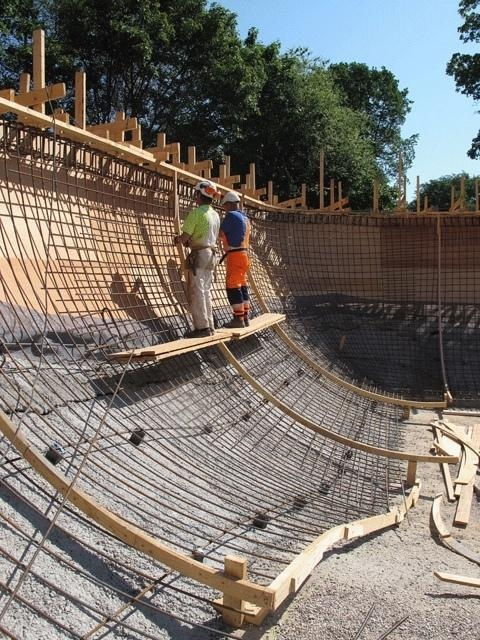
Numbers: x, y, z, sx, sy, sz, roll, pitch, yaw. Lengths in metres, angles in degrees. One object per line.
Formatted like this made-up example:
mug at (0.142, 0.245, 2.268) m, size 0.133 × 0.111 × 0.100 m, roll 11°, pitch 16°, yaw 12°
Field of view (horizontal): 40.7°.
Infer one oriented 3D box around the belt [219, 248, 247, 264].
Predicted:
belt at (-0.097, -0.665, 6.456) m, size 0.180 × 0.062 × 0.162 m, roll -13°, pitch -6°, yaw -2°

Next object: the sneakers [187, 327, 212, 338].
sneakers at (-0.387, 0.108, 5.733) m, size 0.251 × 0.100 × 0.083 m, roll 1°, pitch 3°, yaw 13°

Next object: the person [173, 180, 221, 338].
person at (-0.365, -0.548, 5.794) m, size 0.500 × 1.421 × 0.472 m, roll 10°, pitch 6°, yaw -3°

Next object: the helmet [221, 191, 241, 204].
helmet at (-0.096, -1.238, 6.556) m, size 0.164 × 0.125 × 0.222 m, roll -6°, pitch 16°, yaw -26°
